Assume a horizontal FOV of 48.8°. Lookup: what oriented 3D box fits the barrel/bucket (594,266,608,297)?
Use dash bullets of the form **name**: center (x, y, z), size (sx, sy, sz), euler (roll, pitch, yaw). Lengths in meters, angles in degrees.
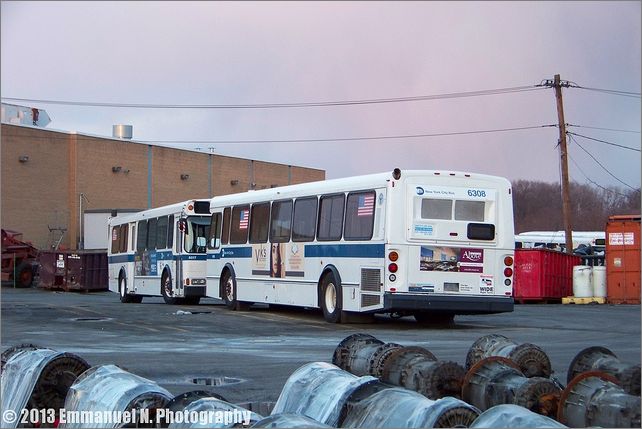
- **barrel/bucket**: center (12.748, 3.147, 32.428), size (0.571, 1.436, 0.411), euler (-3, -8, 18)
